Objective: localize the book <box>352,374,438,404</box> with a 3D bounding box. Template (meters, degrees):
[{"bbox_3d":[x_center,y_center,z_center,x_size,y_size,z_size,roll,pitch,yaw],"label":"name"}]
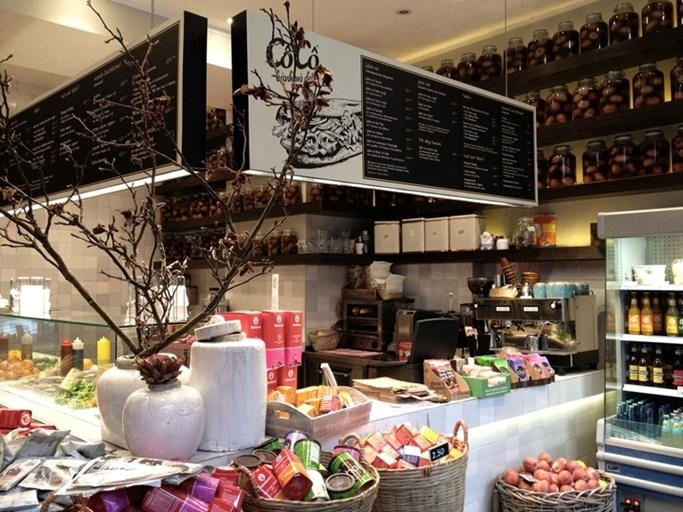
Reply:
[{"bbox_3d":[0.333,0.824,3.008,0.508,0.104,0.235,-3,-5,34],"label":"book"}]

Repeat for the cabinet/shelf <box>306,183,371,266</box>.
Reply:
[{"bbox_3d":[-0.051,-0.337,5.426,0.450,0.758,0.912,-2,-4,45],"label":"cabinet/shelf"}]

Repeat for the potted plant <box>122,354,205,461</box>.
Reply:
[{"bbox_3d":[-0.694,0.587,1.964,0.247,0.349,0.255,-9,3,0],"label":"potted plant"}]

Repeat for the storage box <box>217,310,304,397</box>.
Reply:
[{"bbox_3d":[-0.404,0.551,3.033,0.426,0.617,0.431,-1,0,36],"label":"storage box"}]

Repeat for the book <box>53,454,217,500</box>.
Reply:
[{"bbox_3d":[-0.654,0.703,1.572,0.413,0.057,0.242,1,-4,-15],"label":"book"}]
